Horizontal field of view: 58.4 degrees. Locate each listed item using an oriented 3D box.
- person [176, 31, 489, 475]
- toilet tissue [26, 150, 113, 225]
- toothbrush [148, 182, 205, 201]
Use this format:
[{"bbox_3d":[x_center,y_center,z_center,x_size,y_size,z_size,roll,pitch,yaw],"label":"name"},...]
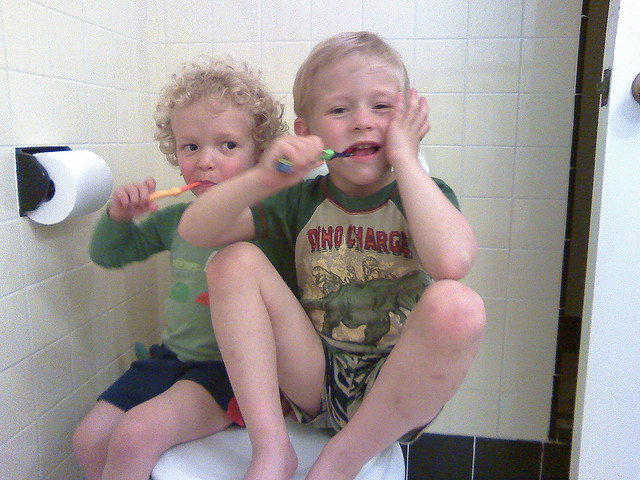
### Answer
[{"bbox_3d":[0.002,0.046,1.258,0.575,0.748,0.678,-9,40,-14],"label":"person"},{"bbox_3d":[-0.616,-0.093,1.476,0.169,0.212,0.188,-8,72,21],"label":"toilet tissue"},{"bbox_3d":[-0.367,-0.125,1.474,0.027,0.025,0.193,-11,12,38],"label":"toothbrush"}]
